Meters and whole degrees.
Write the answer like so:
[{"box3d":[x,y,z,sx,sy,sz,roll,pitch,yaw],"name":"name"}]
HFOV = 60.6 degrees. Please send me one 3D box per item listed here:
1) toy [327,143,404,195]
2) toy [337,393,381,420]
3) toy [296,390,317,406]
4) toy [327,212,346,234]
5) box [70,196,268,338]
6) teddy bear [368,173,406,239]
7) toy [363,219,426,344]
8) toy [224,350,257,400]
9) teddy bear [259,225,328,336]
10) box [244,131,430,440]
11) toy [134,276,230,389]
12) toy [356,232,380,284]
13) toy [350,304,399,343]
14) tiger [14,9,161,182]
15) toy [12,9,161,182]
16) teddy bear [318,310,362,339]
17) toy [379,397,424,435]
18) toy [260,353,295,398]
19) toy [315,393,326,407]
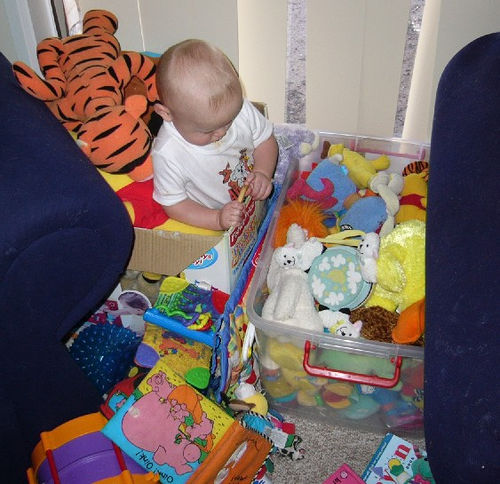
[{"box3d":[0.294,-0.169,1.133,0.123,0.072,0.179,2,30,-40],"name":"toy"},{"box3d":[0.223,0.329,0.882,0.077,0.060,0.020,-5,23,20],"name":"toy"},{"box3d":[0.118,0.325,0.896,0.040,0.041,0.015,-12,30,34],"name":"toy"},{"box3d":[0.217,-0.044,1.067,0.019,0.056,0.040,6,-2,12],"name":"toy"},{"box3d":[-0.154,0.048,0.999,0.345,0.223,0.352,11,43,13],"name":"box"},{"box3d":[0.340,-0.076,1.049,0.057,0.146,0.103,16,-15,-31],"name":"teddy bear"},{"box3d":[0.295,0.077,0.848,0.151,0.210,0.047,11,-1,14],"name":"toy"},{"box3d":[-0.027,0.253,0.862,0.035,0.096,0.095,-2,0,31],"name":"toy"},{"box3d":[0.079,0.065,0.883,0.094,0.139,0.098,0,33,11],"name":"teddy bear"},{"box3d":[0.174,0.107,0.892,0.438,0.365,0.496,18,49,26],"name":"box"},{"box3d":[-0.139,0.175,0.889,0.216,0.065,0.207,16,72,31],"name":"toy"},{"box3d":[0.235,0.033,0.849,0.043,0.082,0.065,-3,27,2],"name":"toy"},{"box3d":[0.247,0.163,0.863,0.091,0.058,0.060,15,32,31],"name":"toy"},{"box3d":[-0.331,-0.332,0.941,0.245,0.393,0.167,-24,0,-23],"name":"tiger"},{"box3d":[-0.348,-0.337,0.928,0.240,0.387,0.156,-26,2,-32],"name":"toy"},{"box3d":[0.180,0.167,0.854,0.084,0.047,0.062,0,27,6],"name":"teddy bear"},{"box3d":[0.315,0.316,0.836,0.013,0.043,0.035,-7,55,-17],"name":"toy"},{"box3d":[0.043,0.280,0.905,0.059,0.025,0.110,-9,55,-30],"name":"toy"},{"box3d":[0.144,0.322,0.883,0.014,0.030,0.030,-24,-6,4],"name":"toy"}]
